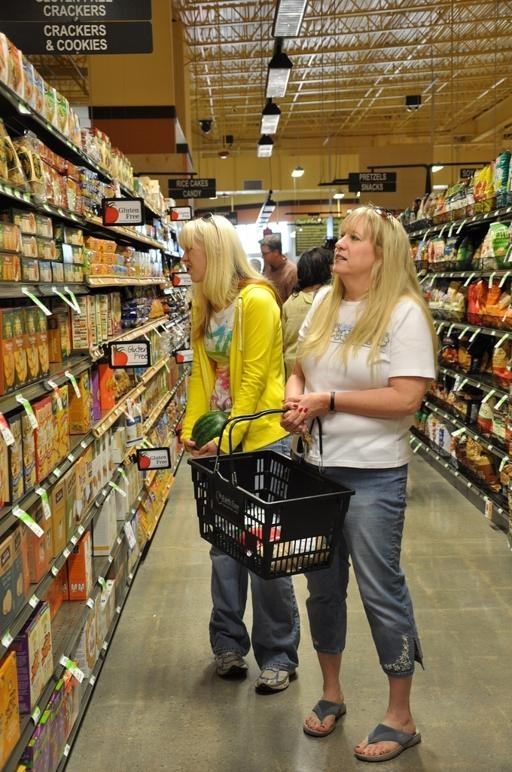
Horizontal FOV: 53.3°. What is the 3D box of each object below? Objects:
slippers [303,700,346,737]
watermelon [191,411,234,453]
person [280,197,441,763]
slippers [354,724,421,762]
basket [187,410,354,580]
[{"bbox_3d":[0.239,1.110,1.748,0.065,0.067,0.176,-3,-7,21],"label":"slippers"},{"bbox_3d":[-0.144,0.157,1.707,0.086,0.108,0.088,31,11,-39],"label":"watermelon"},{"bbox_3d":[0.306,0.312,1.554,0.420,1.652,0.530,-1,-5,4],"label":"person"},{"bbox_3d":[0.383,1.071,1.522,0.181,0.073,0.095,-2,-5,-34],"label":"slippers"},{"bbox_3d":[-0.010,0.202,1.234,0.404,0.391,0.254,-6,9,14],"label":"basket"}]
